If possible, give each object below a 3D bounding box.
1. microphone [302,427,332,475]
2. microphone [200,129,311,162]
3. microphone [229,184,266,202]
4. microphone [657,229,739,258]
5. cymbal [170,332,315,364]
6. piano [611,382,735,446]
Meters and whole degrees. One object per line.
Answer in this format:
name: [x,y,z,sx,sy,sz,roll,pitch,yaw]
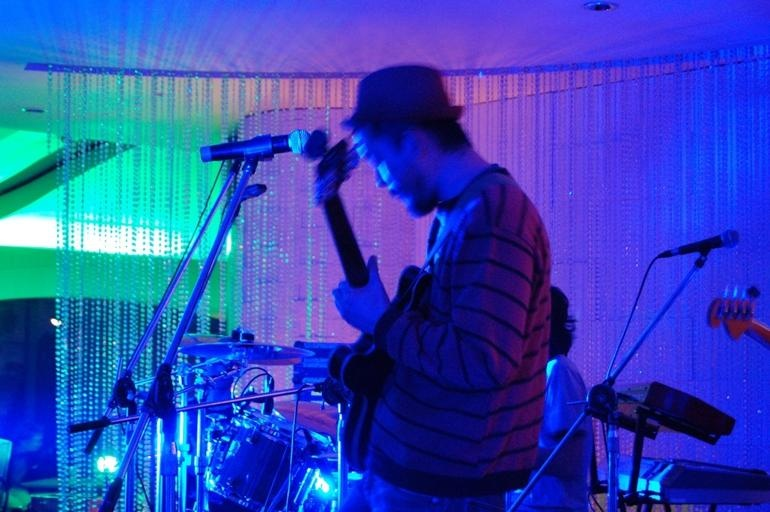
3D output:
microphone: [-0.486,1.451,7.970,0.203,0.272,0.081,13,-5,-7]
microphone: [-0.756,-0.674,6.727,0.762,0.201,0.252,2,-1,23]
microphone: [-0.823,-0.402,6.838,0.143,0.119,0.234,3,-1,-3]
microphone: [2.369,-0.095,8.164,0.494,0.129,0.146,-14,12,24]
cymbal: [-1.028,0.711,8.129,0.478,0.108,0.469,12,-16,-35]
piano: [1.906,1.004,7.234,0.692,0.367,0.916,2,-1,8]
